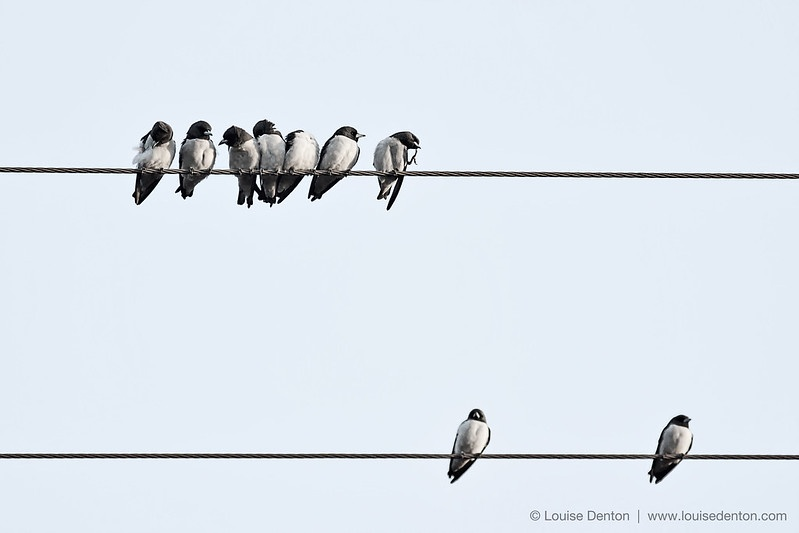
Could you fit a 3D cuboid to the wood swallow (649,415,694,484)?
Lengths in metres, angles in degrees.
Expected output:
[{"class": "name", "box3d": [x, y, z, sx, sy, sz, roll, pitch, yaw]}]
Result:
[{"class": "wood swallow", "box3d": [3.562, 2.288, 21.407, 0.403, 0.613, 1.098, 13, -28, -6]}]

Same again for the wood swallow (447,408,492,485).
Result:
[{"class": "wood swallow", "box3d": [0.948, 2.238, 21.104, 0.435, 1.072, 0.642, 4, -67, 30]}]
